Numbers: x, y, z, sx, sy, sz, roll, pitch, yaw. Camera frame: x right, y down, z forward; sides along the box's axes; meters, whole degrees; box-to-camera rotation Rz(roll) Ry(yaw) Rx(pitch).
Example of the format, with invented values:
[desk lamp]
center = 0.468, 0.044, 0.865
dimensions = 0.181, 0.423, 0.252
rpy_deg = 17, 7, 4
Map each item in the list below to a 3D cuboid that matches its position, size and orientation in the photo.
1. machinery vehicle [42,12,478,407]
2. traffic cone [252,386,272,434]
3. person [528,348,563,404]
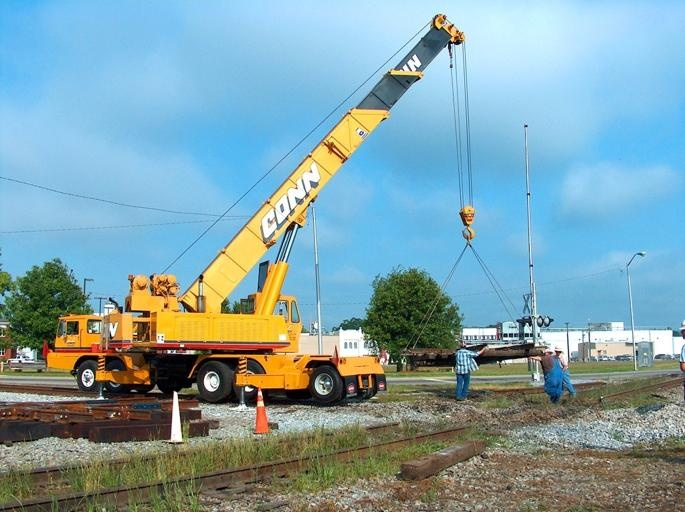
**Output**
[machinery vehicle]
center = -6.738, 1.434, 30.041
dimensions = 20.415, 19.298, 6.971
rpy_deg = -3, -5, 12
[traffic cone]
center = -1.739, 3.288, 14.713
dimensions = 0.331, 0.981, 0.926
rpy_deg = 0, -1, -6
[person]
center = 5.992, 3.516, 20.138
dimensions = 0.864, 1.568, 1.487
rpy_deg = -1, -1, 17
